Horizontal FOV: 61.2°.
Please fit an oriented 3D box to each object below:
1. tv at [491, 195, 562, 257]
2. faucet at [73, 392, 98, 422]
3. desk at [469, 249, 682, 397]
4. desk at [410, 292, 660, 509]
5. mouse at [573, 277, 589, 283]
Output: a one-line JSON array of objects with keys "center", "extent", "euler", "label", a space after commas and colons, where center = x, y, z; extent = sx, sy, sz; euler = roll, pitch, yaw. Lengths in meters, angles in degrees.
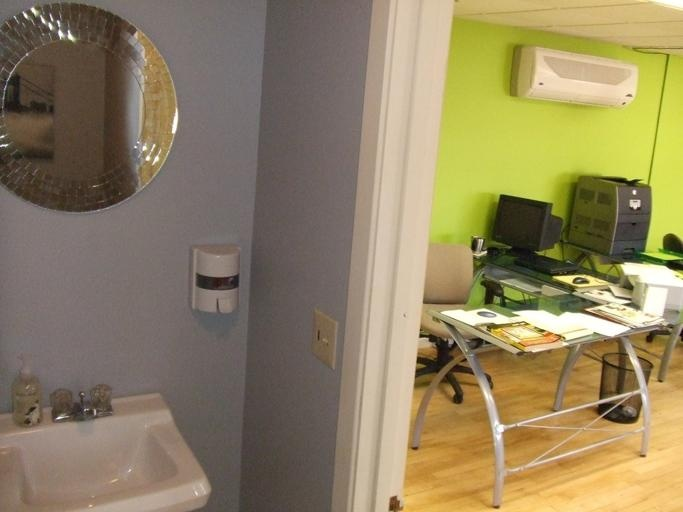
[{"center": [1.517, -0.311, 4.868], "extent": [0.467, 0.570, 0.640], "euler": [-12, 16, -33], "label": "tv"}, {"center": [-0.953, 0.569, 2.153], "extent": [0.084, 0.038, 0.112], "euler": [-2, 32, -24], "label": "faucet"}, {"center": [1.800, 0.402, 4.437], "extent": [1.010, 0.846, 1.761], "euler": [-1, 14, -17], "label": "desk"}, {"center": [1.183, 0.535, 3.738], "extent": [1.788, 1.184, 1.106], "euler": [-6, 12, -26], "label": "desk"}, {"center": [1.765, 0.180, 4.233], "extent": [0.095, 0.027, 0.058], "euler": [-2, 17, -19], "label": "mouse"}]
